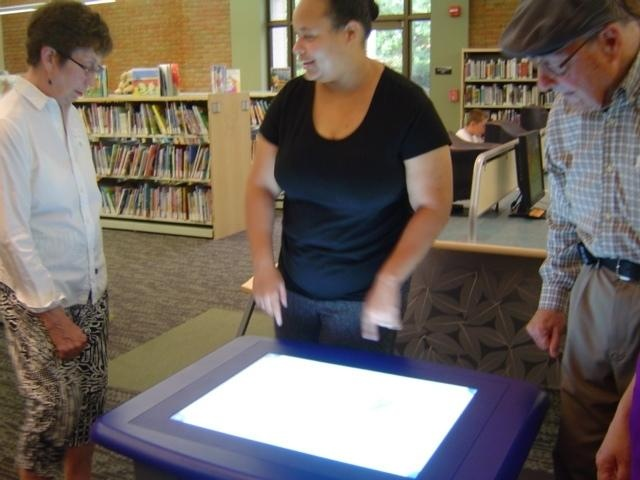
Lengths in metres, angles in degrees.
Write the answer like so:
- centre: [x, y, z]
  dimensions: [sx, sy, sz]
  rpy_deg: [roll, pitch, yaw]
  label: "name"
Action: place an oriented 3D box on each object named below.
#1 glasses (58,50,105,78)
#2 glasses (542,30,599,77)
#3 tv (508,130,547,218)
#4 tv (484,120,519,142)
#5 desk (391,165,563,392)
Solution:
- centre: [-0.797, -0.582, 1.763]
  dimensions: [0.071, 0.021, 0.070]
  rpy_deg: [48, 19, 10]
  label: "glasses"
- centre: [0.605, -0.444, 1.294]
  dimensions: [0.097, 0.029, 0.100]
  rpy_deg: [13, -23, 40]
  label: "glasses"
- centre: [1.476, -0.443, 3.809]
  dimensions: [0.240, 0.691, 0.630]
  rpy_deg: [1, 16, 21]
  label: "tv"
- centre: [1.757, -1.040, 5.171]
  dimensions: [0.221, 0.232, 0.299]
  rpy_deg: [-1, 13, 35]
  label: "tv"
- centre: [0.790, 0.061, 2.830]
  dimensions: [0.938, 1.002, 0.735]
  rpy_deg: [5, 10, 25]
  label: "desk"
